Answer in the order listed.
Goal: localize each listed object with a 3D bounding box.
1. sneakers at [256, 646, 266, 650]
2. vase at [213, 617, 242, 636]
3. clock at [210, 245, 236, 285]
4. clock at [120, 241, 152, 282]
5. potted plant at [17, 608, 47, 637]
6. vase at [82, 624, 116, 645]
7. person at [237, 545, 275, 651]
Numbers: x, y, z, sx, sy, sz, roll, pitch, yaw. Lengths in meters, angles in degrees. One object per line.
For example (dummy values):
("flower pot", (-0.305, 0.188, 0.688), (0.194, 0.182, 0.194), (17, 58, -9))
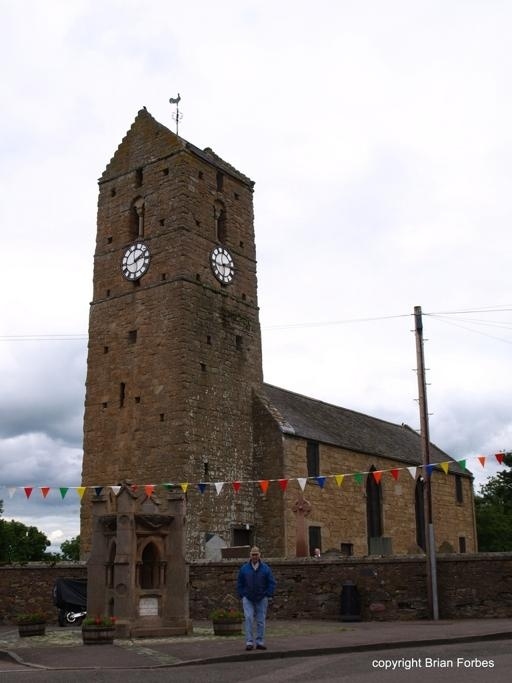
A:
("sneakers", (0.078, 4.302, 11.887), (0.047, 0.047, 0.136), (11, -17, -41))
("vase", (-0.490, 5.020, 14.846), (0.417, 0.205, 0.378), (3, -24, -7))
("clock", (-1.189, -2.660, 29.762), (0.144, 1.213, 1.336), (-22, -33, 30))
("clock", (-4.107, -2.724, 29.258), (1.714, 1.528, 0.089), (-4, -21, 45))
("potted plant", (-4.208, 5.353, 15.968), (0.543, 0.352, 0.409), (-5, -23, 5))
("vase", (-2.558, 4.738, 13.695), (0.492, 0.310, 0.418), (1, -15, -11))
("person", (-0.026, 3.724, 12.337), (0.545, 1.383, 0.780), (-4, -16, 7))
